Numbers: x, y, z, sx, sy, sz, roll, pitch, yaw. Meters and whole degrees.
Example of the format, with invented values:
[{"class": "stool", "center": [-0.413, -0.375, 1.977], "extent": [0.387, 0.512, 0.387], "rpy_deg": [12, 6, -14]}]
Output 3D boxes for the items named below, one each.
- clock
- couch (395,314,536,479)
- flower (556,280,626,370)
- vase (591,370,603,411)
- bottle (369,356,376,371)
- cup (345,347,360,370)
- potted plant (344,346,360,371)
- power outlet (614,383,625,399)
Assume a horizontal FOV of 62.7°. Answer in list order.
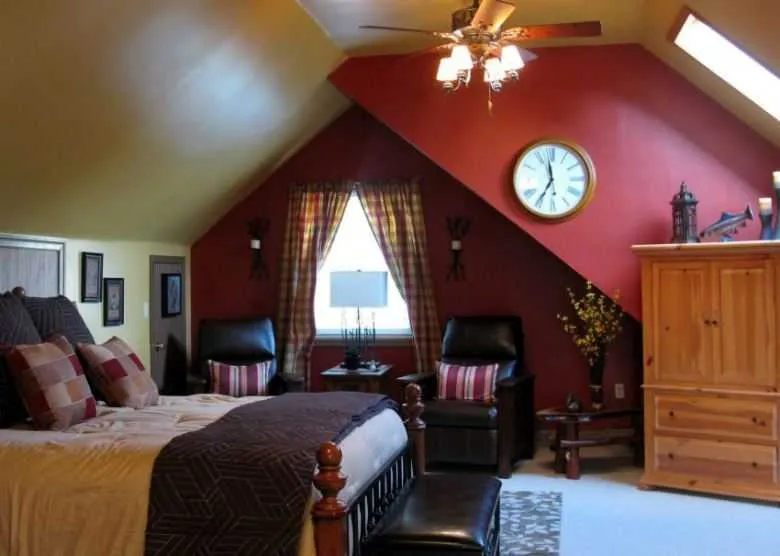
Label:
[{"class": "clock", "center": [1.365, -0.820, 5.293], "extent": [0.685, 0.748, 0.122], "rpy_deg": [0, -2, 7]}, {"class": "couch", "center": [0.580, 0.979, 5.833], "extent": [1.036, 1.418, 1.328], "rpy_deg": [-2, -8, 20]}, {"class": "flower", "center": [1.898, 0.381, 5.765], "extent": [0.675, 1.038, 0.634], "rpy_deg": [0, 0, 8]}, {"class": "vase", "center": [1.734, 0.914, 5.375], "extent": [0.087, 0.338, 0.141], "rpy_deg": [-1, -4, 12]}, {"class": "bottle", "center": [-0.167, 0.818, 6.160], "extent": [0.065, 0.119, 0.053], "rpy_deg": [11, -16, -40]}, {"class": "cup", "center": [-0.351, 0.748, 5.964], "extent": [0.162, 0.239, 0.162], "rpy_deg": [1, -6, 0]}, {"class": "potted plant", "center": [-0.341, 0.760, 5.976], "extent": [0.172, 0.258, 0.167], "rpy_deg": [-1, -7, 15]}, {"class": "power outlet", "center": [2.102, 1.034, 5.872], "extent": [0.094, 0.140, 0.025], "rpy_deg": [0, -3, -3]}]
